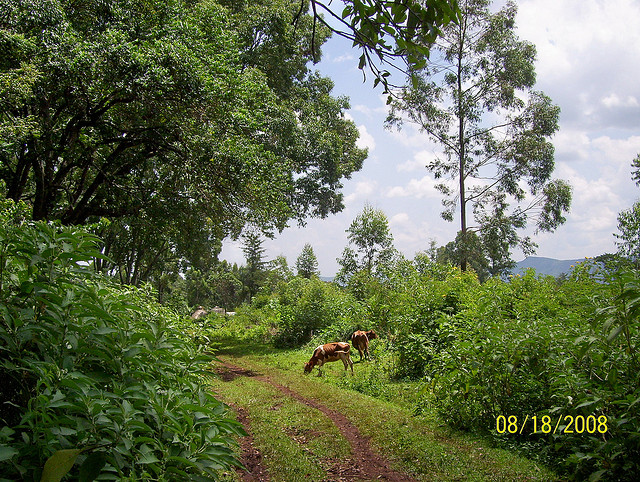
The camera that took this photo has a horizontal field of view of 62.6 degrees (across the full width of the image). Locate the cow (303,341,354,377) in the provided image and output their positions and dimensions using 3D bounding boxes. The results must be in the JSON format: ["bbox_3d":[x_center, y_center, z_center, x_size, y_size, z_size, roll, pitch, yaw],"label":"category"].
[{"bbox_3d":[0.292,3.476,15.380,1.278,1.112,0.745,6,-16,16],"label":"cow"}]

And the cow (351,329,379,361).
[{"bbox_3d":[1.414,3.279,17.159,1.175,0.644,0.323,-12,2,38],"label":"cow"}]
